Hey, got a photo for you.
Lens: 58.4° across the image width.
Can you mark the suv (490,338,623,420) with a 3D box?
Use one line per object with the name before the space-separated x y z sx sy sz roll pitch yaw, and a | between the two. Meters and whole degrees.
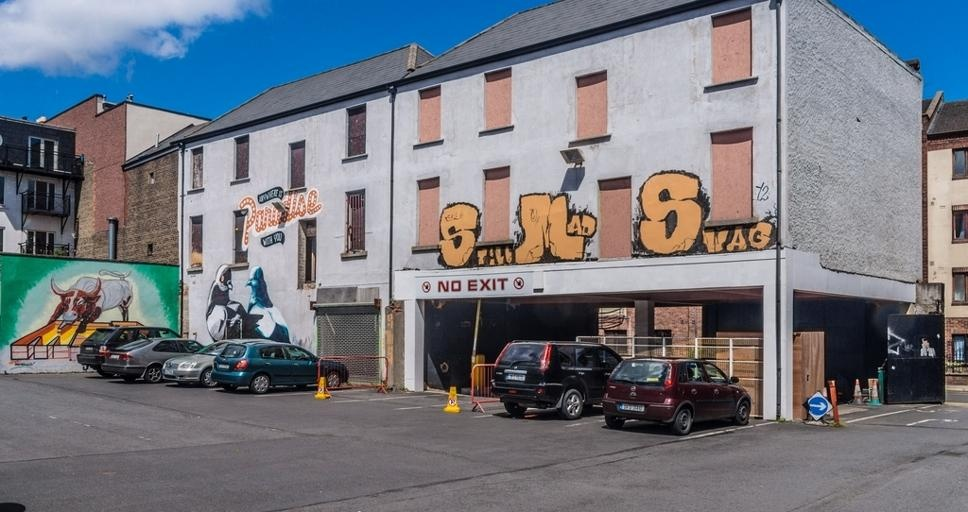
suv | 3.153 5.475 36.604 8.773 3.665 3.965 3 -2 -16
